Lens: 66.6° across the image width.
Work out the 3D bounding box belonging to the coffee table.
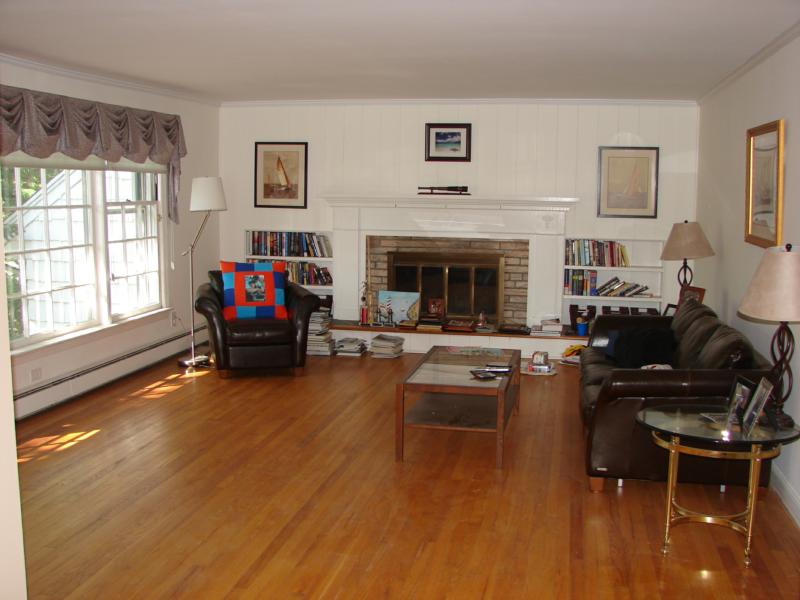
[{"bbox_3d":[0.491,0.810,4.929,0.828,0.549,1.324,1,6,10],"label":"coffee table"}]

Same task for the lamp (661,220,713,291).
[{"bbox_3d":[2.919,-0.436,6.238,0.447,0.725,0.950,5,12,24],"label":"lamp"}]

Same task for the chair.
[{"bbox_3d":[-1.485,0.152,6.404,1.065,0.922,0.971,0,4,-11],"label":"chair"}]

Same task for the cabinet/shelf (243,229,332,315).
[{"bbox_3d":[-1.326,-0.396,8.061,1.225,1.153,0.368,3,21,17],"label":"cabinet/shelf"}]

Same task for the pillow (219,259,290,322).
[{"bbox_3d":[-1.604,-0.086,6.735,0.706,0.664,0.248,-1,-3,-19],"label":"pillow"}]

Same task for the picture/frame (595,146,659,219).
[{"bbox_3d":[2.659,-1.380,7.083,0.828,1.013,0.050,1,3,8],"label":"picture/frame"}]

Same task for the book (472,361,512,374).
[{"bbox_3d":[0.797,0.552,4.861,0.440,0.103,0.181,1,-7,-3],"label":"book"}]

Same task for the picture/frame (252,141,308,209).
[{"bbox_3d":[-1.478,-1.591,7.693,0.838,1.010,0.071,0,3,4],"label":"picture/frame"}]

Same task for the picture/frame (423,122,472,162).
[{"bbox_3d":[0.590,-1.906,7.334,0.474,0.398,0.037,2,10,6],"label":"picture/frame"}]

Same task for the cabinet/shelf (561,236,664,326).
[{"bbox_3d":[2.489,-0.237,7.108,1.051,0.977,0.321,0,2,7],"label":"cabinet/shelf"}]
